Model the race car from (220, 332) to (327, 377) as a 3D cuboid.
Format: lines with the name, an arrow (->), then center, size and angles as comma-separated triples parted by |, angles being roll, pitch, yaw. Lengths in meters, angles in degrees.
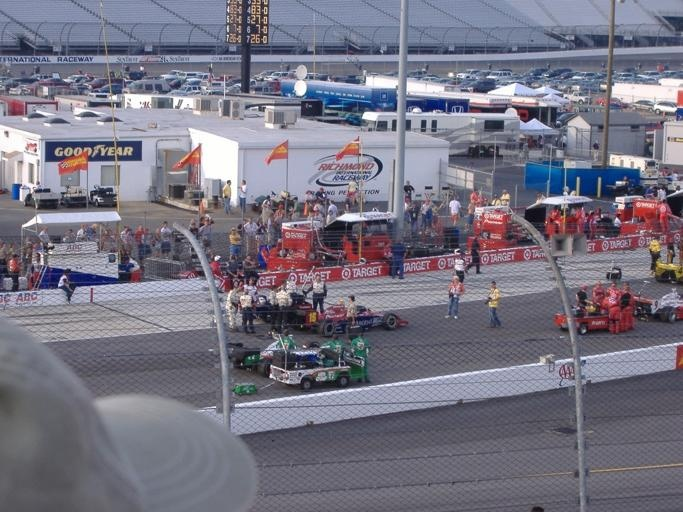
race car -> -2.186, 3.582, 64.933 | 2.979, 1.172, 1.436 | -9, 16, 11

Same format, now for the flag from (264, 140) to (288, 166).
flag -> -3.019, -4.609, 80.272 | 1.316, 1.229, 0.413 | -1, 25, -4

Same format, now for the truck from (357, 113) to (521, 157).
truck -> 5.179, -6.640, 93.185 | 8.738, 2.520, 3.084 | -1, 4, -17

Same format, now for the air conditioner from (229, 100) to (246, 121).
air conditioner -> -5.425, -7.410, 90.735 | 0.688, 0.974, 0.525 | -4, 6, -14

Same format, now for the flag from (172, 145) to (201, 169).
flag -> -7.291, -4.467, 82.003 | 1.692, 0.413, 4.497 | 12, -3, -13

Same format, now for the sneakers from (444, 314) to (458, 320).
sneakers -> 4.269, 2.444, 67.116 | 0.491, 0.146, 0.196 | 0, -21, -9
